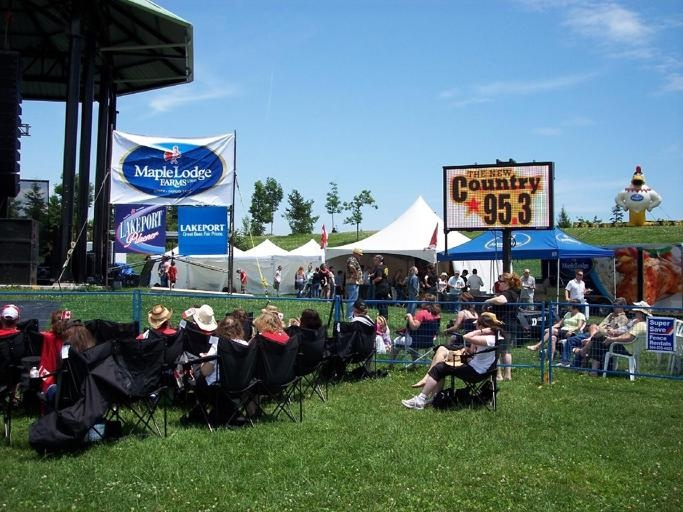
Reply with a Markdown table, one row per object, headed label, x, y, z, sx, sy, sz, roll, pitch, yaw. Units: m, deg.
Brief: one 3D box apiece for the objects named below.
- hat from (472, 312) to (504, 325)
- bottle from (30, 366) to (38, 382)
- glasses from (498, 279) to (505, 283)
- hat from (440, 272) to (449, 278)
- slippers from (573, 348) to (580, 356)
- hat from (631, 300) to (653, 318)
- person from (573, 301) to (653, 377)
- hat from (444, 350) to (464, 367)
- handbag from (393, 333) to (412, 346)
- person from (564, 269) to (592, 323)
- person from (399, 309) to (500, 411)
| label | x | y | z | sx | sy | sz | roll | pitch | yaw |
| --- | --- | --- | --- | --- | --- | --- | --- | --- | --- |
| hat | 2.640 | 1.131 | 14.879 | 0.241 | 0.271 | 0.303 | -8 | 7 | -40 |
| bottle | -5.023 | 1.923 | 13.636 | 0.186 | 0.103 | 0.270 | 11 | 24 | -19 |
| glasses | 3.283 | 0.525 | 17.169 | 0.072 | 0.086 | 0.075 | 6 | -8 | -31 |
| hat | 3.584 | 0.633 | 29.217 | 0.245 | 0.110 | 0.289 | -4 | -17 | 28 |
| slippers | 4.686 | 1.924 | 16.716 | 0.082 | 0.110 | 0.116 | 7 | 20 | 1 |
| hat | 6.465 | 1.154 | 18.018 | 0.419 | 0.244 | 0.422 | 7 | 5 | -33 |
| person | 5.276 | 1.631 | 16.411 | 1.333 | 1.188 | 0.408 | 1 | -2 | 19 |
| hat | 1.988 | 1.825 | 14.870 | 0.242 | 0.344 | 0.259 | 2 | -3 | -23 |
| handbag | 1.247 | 1.728 | 17.196 | 0.224 | 0.172 | 0.383 | 2 | 1 | 8 |
| person | 6.144 | 1.127 | 21.824 | 0.566 | 1.495 | 0.452 | 1 | 16 | 22 |
| person | 2.051 | 1.857 | 14.779 | 1.442 | 1.730 | 0.491 | 2 | -2 | 10 |
